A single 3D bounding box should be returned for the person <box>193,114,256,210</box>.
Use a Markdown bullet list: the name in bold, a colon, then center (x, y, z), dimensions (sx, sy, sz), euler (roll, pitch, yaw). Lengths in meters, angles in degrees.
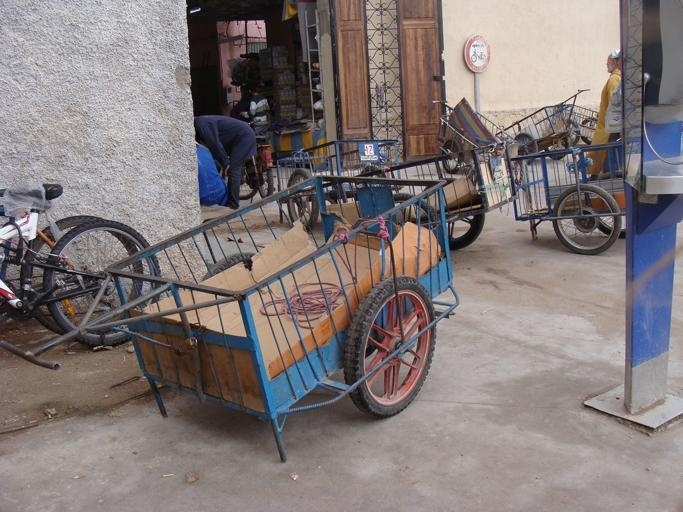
- **person**: center (-1.341, -1.297, 8.800), dimensions (0.680, 0.910, 1.405), euler (-22, 35, -25)
